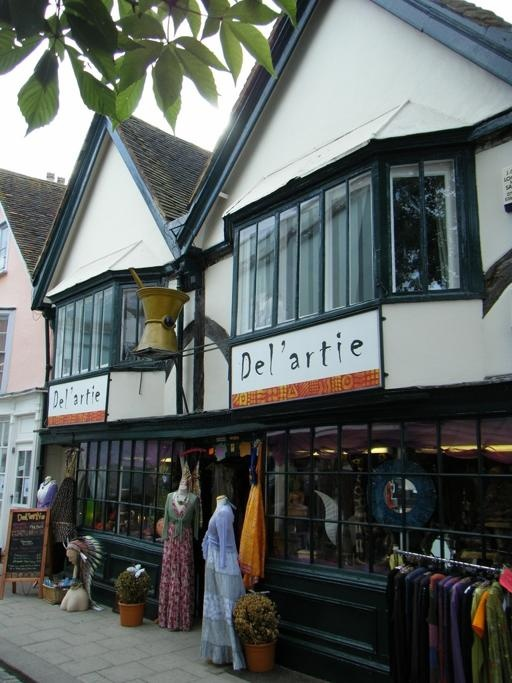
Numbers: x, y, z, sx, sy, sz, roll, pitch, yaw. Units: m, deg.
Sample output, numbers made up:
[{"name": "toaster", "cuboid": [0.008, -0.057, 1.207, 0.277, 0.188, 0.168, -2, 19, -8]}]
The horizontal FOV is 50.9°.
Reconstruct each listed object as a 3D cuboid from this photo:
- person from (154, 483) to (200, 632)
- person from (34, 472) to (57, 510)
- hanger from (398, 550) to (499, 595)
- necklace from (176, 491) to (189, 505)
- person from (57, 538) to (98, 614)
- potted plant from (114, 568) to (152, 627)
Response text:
[{"name": "person", "cuboid": [-1.128, 3.066, 7.844, 0.554, 2.067, 0.391, 1, -13, -6]}, {"name": "person", "cuboid": [-4.226, 3.026, 10.905, 0.340, 0.580, 0.948, 4, -14, -20]}, {"name": "hanger", "cuboid": [1.662, 1.918, 4.798, 0.941, 0.361, 0.284, -1, -11, 41]}, {"name": "necklace", "cuboid": [-1.102, 2.298, 7.950, 0.122, 0.184, 0.088, 2, -33, -8]}, {"name": "person", "cuboid": [-3.086, 4.059, 9.358, 0.723, 1.224, 0.471, -18, -29, 27]}, {"name": "potted plant", "cuboid": [-1.853, 3.744, 8.057, 0.474, 0.767, 0.453, 0, -7, 5]}]
